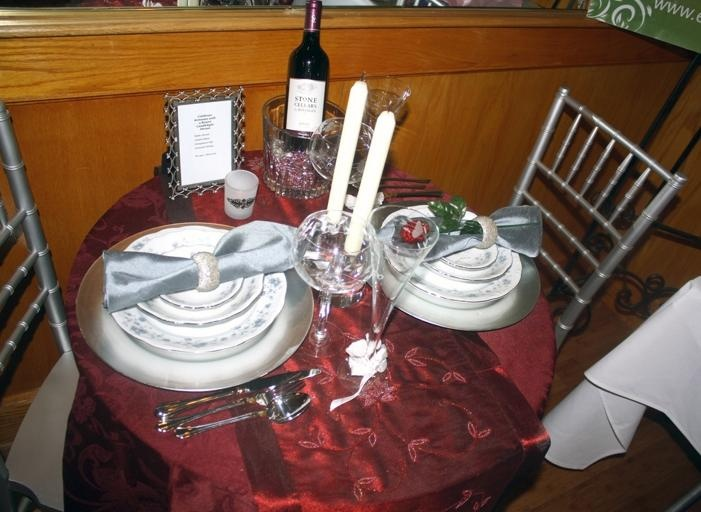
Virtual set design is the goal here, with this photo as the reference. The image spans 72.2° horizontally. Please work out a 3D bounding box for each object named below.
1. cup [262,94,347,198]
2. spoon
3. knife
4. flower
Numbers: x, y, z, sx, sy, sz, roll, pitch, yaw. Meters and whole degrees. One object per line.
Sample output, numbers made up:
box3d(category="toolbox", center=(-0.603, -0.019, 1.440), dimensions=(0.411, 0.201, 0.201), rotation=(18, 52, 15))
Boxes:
box3d(category="cup", center=(-0.134, -0.286, 1.382), dimensions=(0.234, 0.226, 0.275), rotation=(1, 43, -7))
box3d(category="spoon", center=(-0.205, 0.289, 0.866), dimensions=(0.202, 0.030, 0.044), rotation=(-10, 54, -16))
box3d(category="knife", center=(-0.220, 0.252, 0.879), dimensions=(0.247, 0.020, 0.036), rotation=(-13, 16, -8))
box3d(category="flower", center=(0.322, -0.062, 1.132), dimensions=(0.245, 0.053, 0.141), rotation=(-8, 68, -6))
